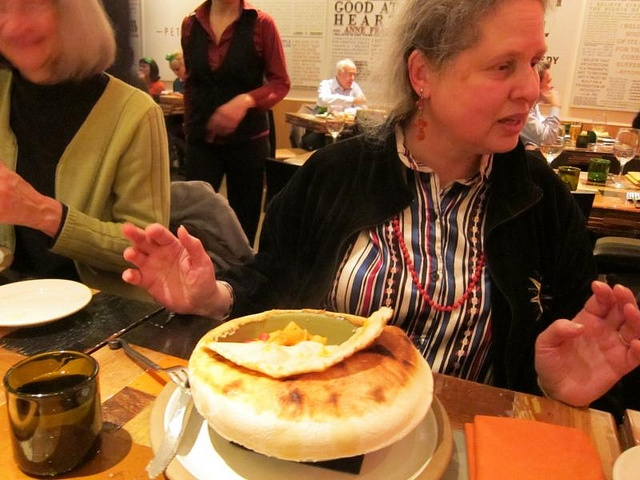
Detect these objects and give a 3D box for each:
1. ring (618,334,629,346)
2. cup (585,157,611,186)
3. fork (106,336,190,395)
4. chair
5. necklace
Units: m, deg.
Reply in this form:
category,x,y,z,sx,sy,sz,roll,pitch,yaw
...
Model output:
category,x,y,z,sx,sy,sz,roll,pitch,yaw
ring,0.661,0.217,1.072,0.006,0.022,0.023,4,44,-30
cup,1.897,-0.471,3.398,0.168,0.192,0.182,0,7,0
fork,-0.350,0.258,0.997,0.034,0.025,0.202,-30,31,-31
chair,-0.458,-0.037,2.040,0.292,0.377,0.128,-34,6,-19
necklace,0.318,0.074,1.332,0.273,0.027,0.262,-2,69,-12
